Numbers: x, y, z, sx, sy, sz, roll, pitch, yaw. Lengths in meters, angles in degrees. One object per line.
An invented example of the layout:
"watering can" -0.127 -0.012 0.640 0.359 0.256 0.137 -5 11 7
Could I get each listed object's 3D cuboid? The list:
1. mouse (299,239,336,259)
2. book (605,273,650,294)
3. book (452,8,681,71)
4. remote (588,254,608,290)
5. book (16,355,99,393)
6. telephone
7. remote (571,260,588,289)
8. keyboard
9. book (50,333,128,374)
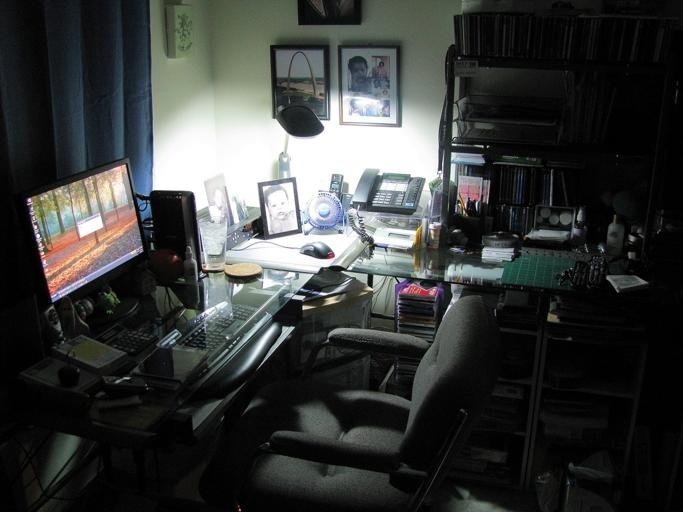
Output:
"mouse" -0.103 -0.044 2.520 0.135 0.047 0.077 13 19 36
"book" 1.218 0.111 2.267 0.093 0.022 0.095 0 21 4
"book" 0.956 -0.955 2.366 0.906 0.208 0.064 7 19 12
"remote" 1.111 0.055 2.318 0.046 0.018 0.161 10 63 31
"book" -0.910 0.336 1.672 0.153 0.035 0.105 10 24 14
"telephone" 0.251 -0.343 2.840 0.347 0.184 0.219 10 20 19
"remote" 1.034 0.070 2.306 0.064 0.026 0.134 2 40 22
"keyboard" -0.509 0.186 1.819 0.187 0.087 0.496 11 36 14
"book" -0.824 0.319 1.755 0.161 0.038 0.110 16 25 19
